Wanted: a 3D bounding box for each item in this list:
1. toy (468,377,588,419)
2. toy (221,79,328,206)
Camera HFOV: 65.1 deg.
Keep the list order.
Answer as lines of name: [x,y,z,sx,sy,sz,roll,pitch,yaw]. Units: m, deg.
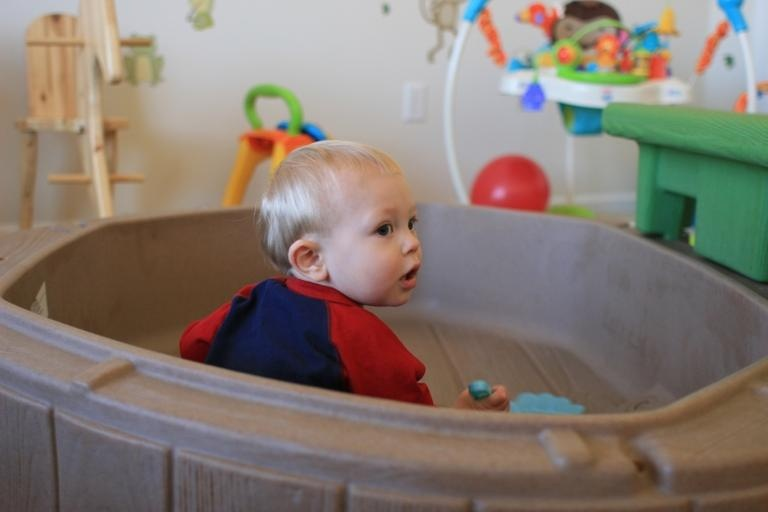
toy: [0.212,0.231,0.954,0.166,0.055,0.125,0,-8,-6]
toy: [-0.368,-0.383,2.108,0.335,0.397,0.349,17,22,39]
